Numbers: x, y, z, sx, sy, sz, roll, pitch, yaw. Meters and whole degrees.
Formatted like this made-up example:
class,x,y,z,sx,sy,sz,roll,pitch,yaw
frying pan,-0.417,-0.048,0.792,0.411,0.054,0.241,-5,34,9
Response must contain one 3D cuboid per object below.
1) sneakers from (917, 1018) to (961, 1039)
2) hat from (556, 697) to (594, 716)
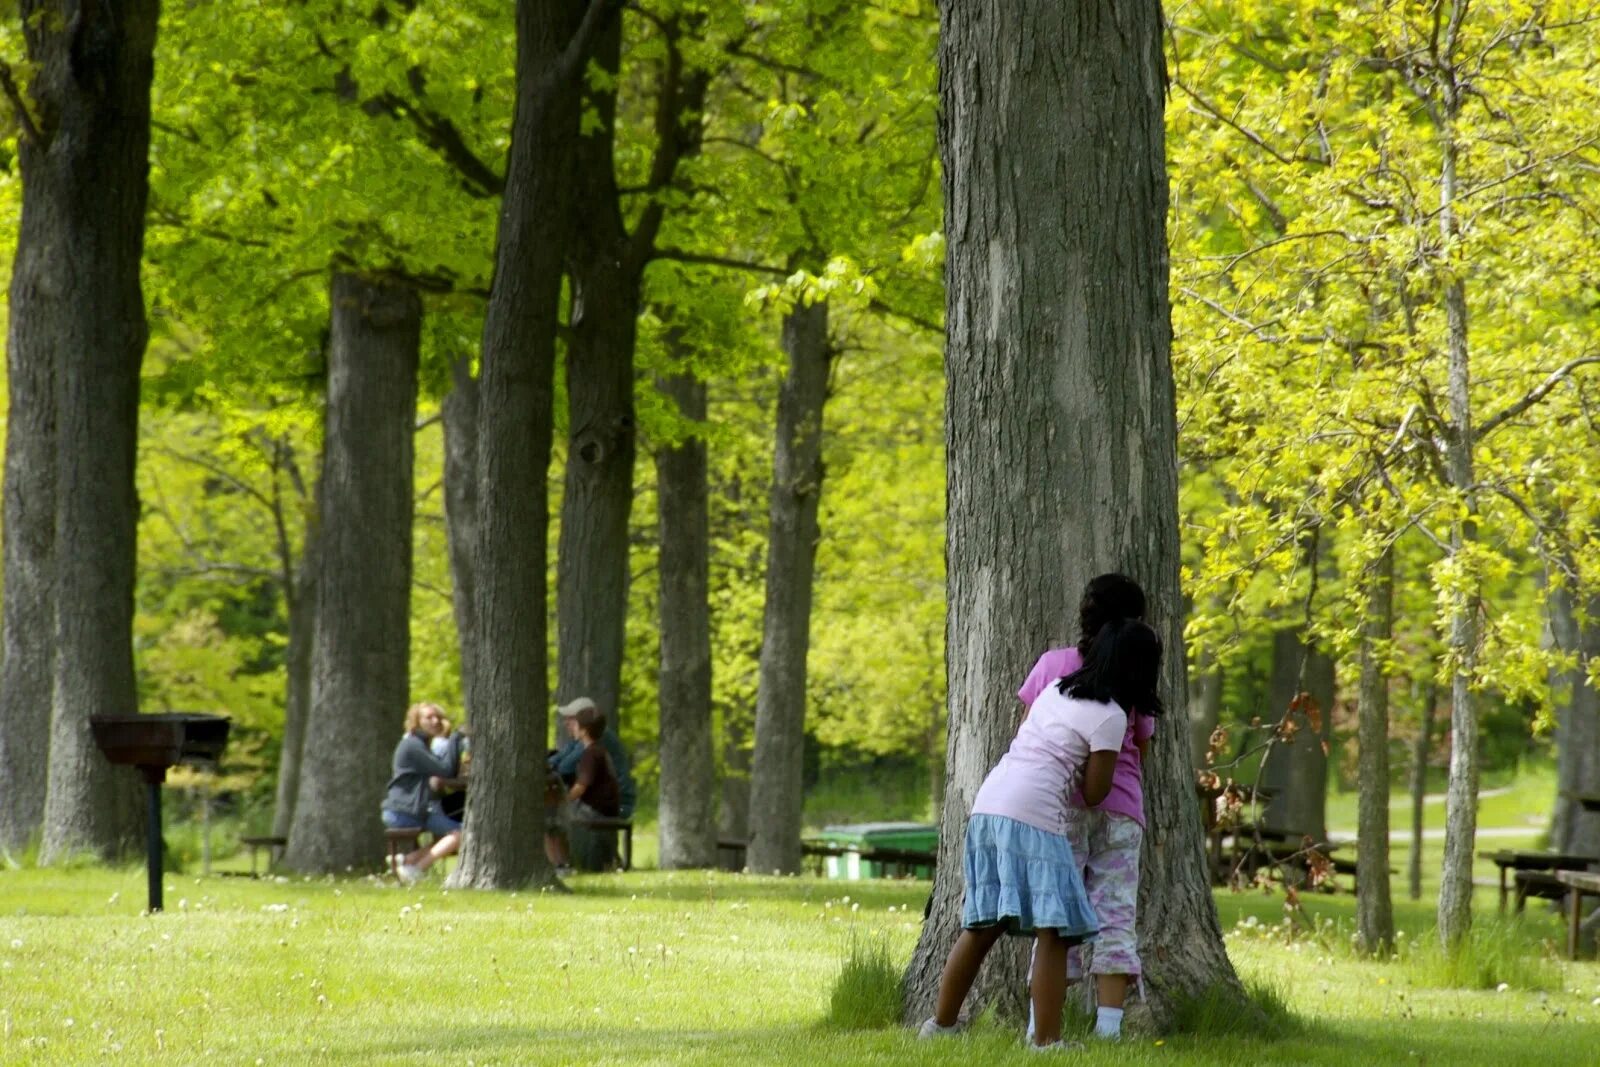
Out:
class,x,y,z,sx,sy,sz,roll,pitch,yaw
sneakers,1.526,5.406,48.273,0.420,0.190,0.188,3,-6,3
hat,-2.953,2.250,57.603,0.384,0.146,0.247,-3,-2,38
